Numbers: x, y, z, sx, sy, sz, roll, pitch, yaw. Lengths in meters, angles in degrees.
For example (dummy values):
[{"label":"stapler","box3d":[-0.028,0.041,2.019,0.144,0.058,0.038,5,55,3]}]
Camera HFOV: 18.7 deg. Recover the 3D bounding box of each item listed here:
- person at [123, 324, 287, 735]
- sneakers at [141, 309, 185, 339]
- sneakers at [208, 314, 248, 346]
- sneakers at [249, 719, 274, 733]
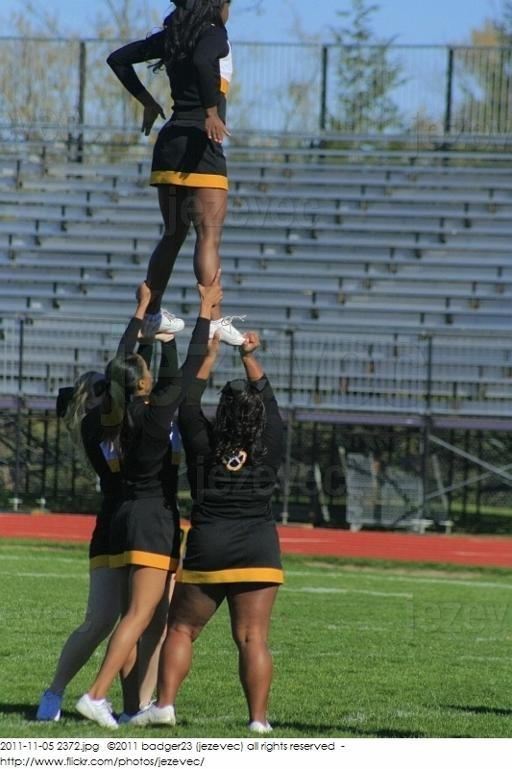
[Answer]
[{"label":"person","box3d":[-0.195,0.871,9.021,0.715,2.248,0.335,3,-2,-4]},{"label":"sneakers","box3d":[-0.596,-0.382,10.100,0.292,0.150,0.144,-6,19,-15]},{"label":"sneakers","box3d":[-0.184,-0.339,9.922,0.361,0.183,0.129,12,13,35]},{"label":"sneakers","box3d":[0.031,1.953,8.938,0.163,0.071,0.054,3,1,-42]}]
